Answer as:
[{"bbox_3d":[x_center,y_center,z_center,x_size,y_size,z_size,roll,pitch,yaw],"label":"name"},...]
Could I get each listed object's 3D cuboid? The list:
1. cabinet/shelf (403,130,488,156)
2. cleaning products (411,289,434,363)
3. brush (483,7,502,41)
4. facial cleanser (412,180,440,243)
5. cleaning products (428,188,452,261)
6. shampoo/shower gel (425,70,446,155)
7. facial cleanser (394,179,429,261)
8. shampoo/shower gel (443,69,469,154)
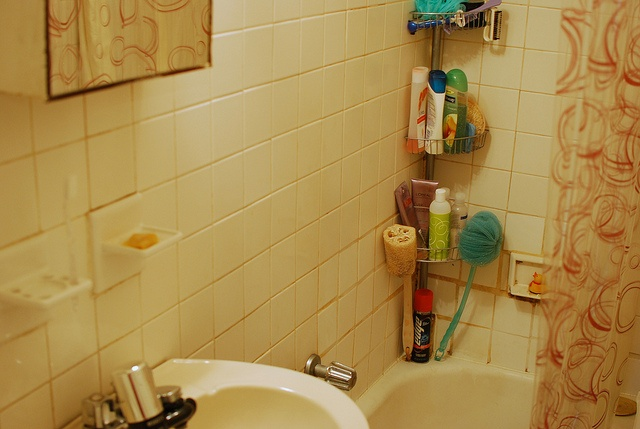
[{"bbox_3d":[0.494,-0.308,1.968,0.277,0.103,0.190,-13,22,-31],"label":"cabinet/shelf"},{"bbox_3d":[0.455,0.484,2.157,0.078,0.300,0.084,3,8,17],"label":"cleaning products"},{"bbox_3d":[0.628,-0.700,1.844,0.029,0.108,0.084,5,26,10],"label":"brush"},{"bbox_3d":[0.423,-0.014,2.011,0.090,0.238,0.059,1,27,-1],"label":"facial cleanser"},{"bbox_3d":[0.476,0.048,1.968,0.065,0.298,0.082,-19,31,-37],"label":"cleaning products"},{"bbox_3d":[0.447,-0.380,1.889,0.086,0.301,0.074,0,22,-3],"label":"shampoo/shower gel"},{"bbox_3d":[0.365,0.048,1.990,0.125,0.332,0.092,16,31,24],"label":"facial cleanser"},{"bbox_3d":[0.529,-0.392,1.918,0.102,0.304,0.110,5,23,9],"label":"shampoo/shower gel"}]
